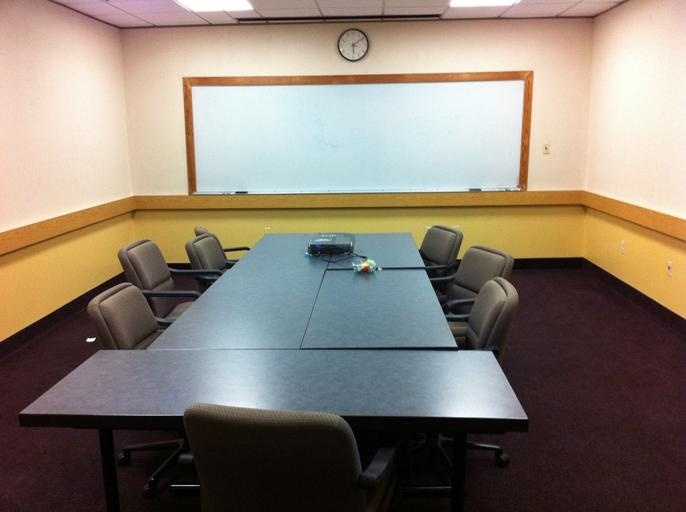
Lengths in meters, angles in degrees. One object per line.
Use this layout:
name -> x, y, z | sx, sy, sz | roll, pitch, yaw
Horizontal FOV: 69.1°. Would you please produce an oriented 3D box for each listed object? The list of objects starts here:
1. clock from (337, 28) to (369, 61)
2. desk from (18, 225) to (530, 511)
clock -> 0.116, -2.608, 6.076 | 0.343, 0.369, 0.037 | 0, 18, 5
desk -> -0.391, 0.666, 3.217 | 2.264, 0.925, 2.321 | -1, 19, -5
